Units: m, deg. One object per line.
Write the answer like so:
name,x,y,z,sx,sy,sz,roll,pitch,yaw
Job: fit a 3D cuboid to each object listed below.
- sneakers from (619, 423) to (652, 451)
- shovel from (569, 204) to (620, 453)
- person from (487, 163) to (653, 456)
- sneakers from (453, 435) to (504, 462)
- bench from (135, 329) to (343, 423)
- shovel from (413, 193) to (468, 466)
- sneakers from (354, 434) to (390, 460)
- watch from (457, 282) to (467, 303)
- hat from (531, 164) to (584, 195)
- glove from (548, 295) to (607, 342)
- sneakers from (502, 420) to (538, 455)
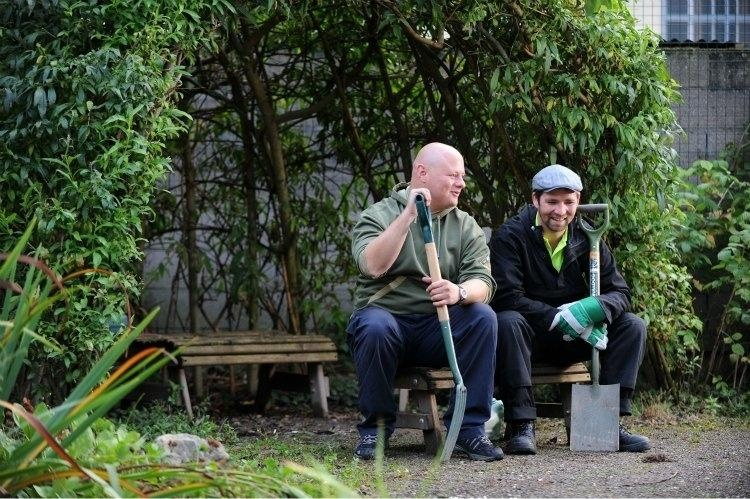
sneakers,1.417,1.044,4.315,0.162,0.109,0.204,0,-2,21
shovel,1.174,0.435,4.227,0.266,1.386,0.096,3,12,31
person,0.993,0.304,4.468,0.892,1.551,1.054,2,-1,-23
sneakers,0.534,1.027,4.123,0.249,0.126,0.116,0,-1,24
bench,-0.907,0.865,5.431,1.332,0.577,0.888,1,-1,-18
shovel,0.344,0.405,4.090,0.267,1.357,0.269,1,-1,5
sneakers,-0.023,1.034,4.102,0.103,0.134,0.328,-1,-12,15
watch,0.455,0.226,4.079,0.078,0.092,0.057,-8,-11,33
hat,1.000,-0.387,4.352,0.254,0.154,0.124,0,-1,12
glove,1.098,0.399,4.380,0.338,0.149,0.258,-22,5,3
sneakers,0.785,1.017,4.229,0.157,0.173,0.140,1,-1,-5
